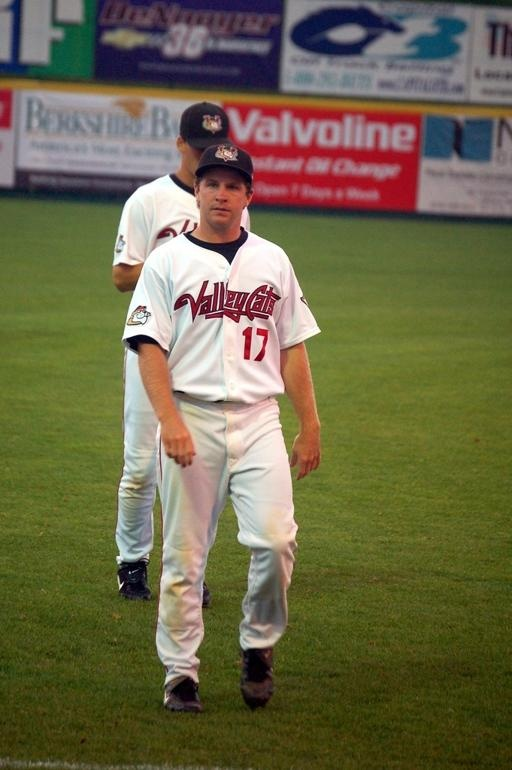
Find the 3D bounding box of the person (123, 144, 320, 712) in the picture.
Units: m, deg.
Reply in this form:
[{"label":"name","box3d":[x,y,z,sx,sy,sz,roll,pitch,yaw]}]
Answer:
[{"label":"person","box3d":[-0.125,0.249,4.128,0.598,1.560,0.556,1,11,-5]}]

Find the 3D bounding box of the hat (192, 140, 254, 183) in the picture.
[{"label":"hat","box3d":[-0.094,-0.735,4.174,0.169,0.126,0.274,9,-6,-1]}]

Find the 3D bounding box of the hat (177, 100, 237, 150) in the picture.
[{"label":"hat","box3d":[-0.182,-1.027,4.857,0.179,0.144,0.266,-4,34,-19]}]

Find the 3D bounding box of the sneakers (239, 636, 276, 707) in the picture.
[{"label":"sneakers","box3d":[0.003,0.960,4.067,0.073,0.115,0.215,0,15,-1]}]
